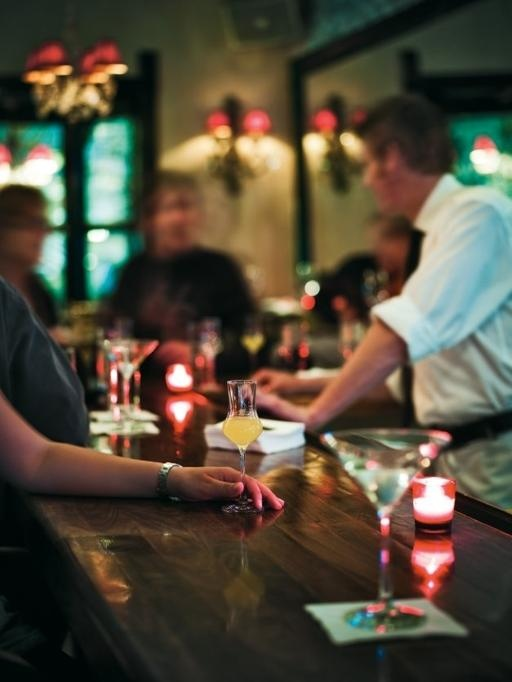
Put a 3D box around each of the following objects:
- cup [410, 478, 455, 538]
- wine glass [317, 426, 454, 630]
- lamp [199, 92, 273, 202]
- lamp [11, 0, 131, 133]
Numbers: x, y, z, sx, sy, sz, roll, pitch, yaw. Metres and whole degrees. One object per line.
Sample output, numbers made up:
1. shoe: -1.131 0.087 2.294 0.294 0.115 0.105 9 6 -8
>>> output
1. cup: 0.291 0.273 1.156 0.104 0.070 0.098 1 -4 0
2. wine glass: 0.145 0.215 0.829 0.229 0.207 0.206 -1 -6 4
3. lamp: -0.036 -0.542 2.009 0.147 0.252 0.226 4 5 43
4. lamp: -0.476 -0.676 1.860 0.263 0.192 0.220 -1 4 -14
